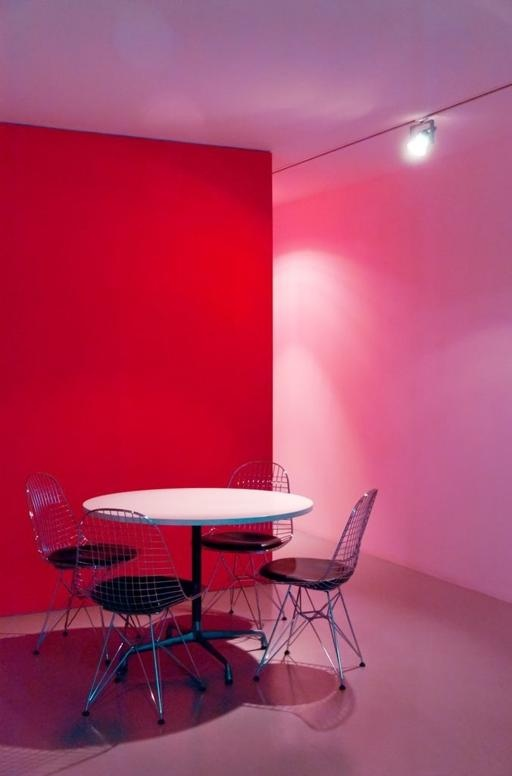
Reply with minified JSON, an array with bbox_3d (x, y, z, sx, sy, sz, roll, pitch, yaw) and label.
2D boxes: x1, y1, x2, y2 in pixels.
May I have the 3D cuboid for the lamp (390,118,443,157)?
[{"bbox_3d":[0.991,-1.427,4.069,0.215,0.289,0.079,22,13,34],"label":"lamp"}]

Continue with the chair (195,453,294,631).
[{"bbox_3d":[0.001,1.006,4.156,0.516,0.736,0.439,-9,-11,10],"label":"chair"}]

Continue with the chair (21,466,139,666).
[{"bbox_3d":[-0.854,0.924,3.560,0.628,0.874,0.589,1,-9,13],"label":"chair"}]

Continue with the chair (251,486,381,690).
[{"bbox_3d":[0.261,0.902,3.162,0.536,0.789,0.485,-3,-7,16],"label":"chair"}]
